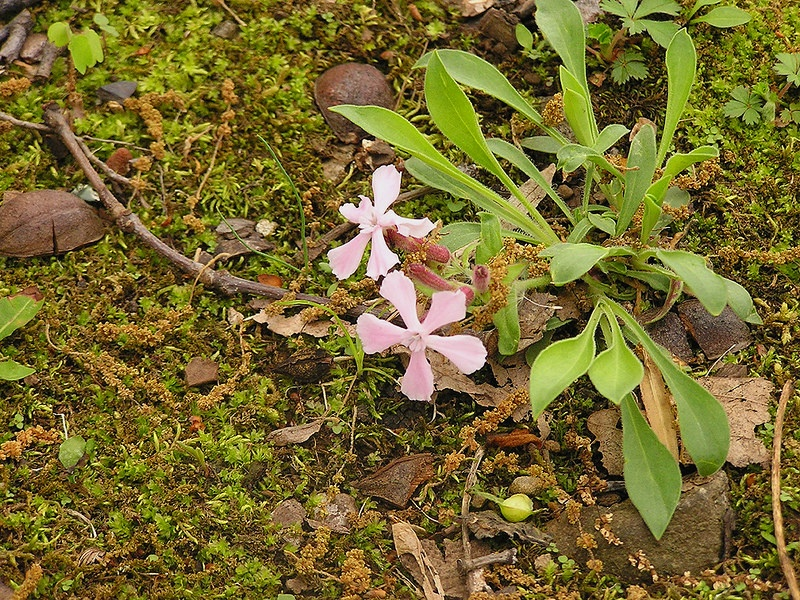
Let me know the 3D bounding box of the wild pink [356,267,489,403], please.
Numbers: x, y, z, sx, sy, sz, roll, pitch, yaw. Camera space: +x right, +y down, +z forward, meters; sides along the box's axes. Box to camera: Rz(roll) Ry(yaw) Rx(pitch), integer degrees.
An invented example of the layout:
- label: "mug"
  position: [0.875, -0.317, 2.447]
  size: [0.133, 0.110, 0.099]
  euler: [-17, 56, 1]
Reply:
- label: "wild pink"
  position: [0.031, 0.151, 2.937]
  size: [0.409, 0.144, 0.470]
  euler: [42, 29, 17]

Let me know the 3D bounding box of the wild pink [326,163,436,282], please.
- label: "wild pink"
  position: [-0.089, -0.219, 3.151]
  size: [0.335, 0.621, 0.408]
  euler: [28, 50, 15]
